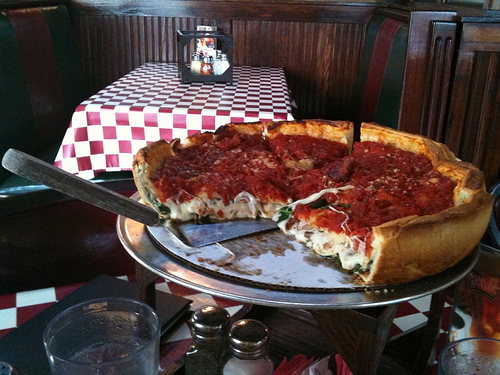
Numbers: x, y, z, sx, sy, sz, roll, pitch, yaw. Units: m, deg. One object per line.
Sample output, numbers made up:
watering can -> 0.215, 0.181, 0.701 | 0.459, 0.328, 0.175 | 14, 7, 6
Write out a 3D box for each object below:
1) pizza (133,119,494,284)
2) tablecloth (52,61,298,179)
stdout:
pizza -> 0.182, -0.003, 0.938 | 0.667, 0.098, 0.619 | -12, 24, -32
tablecloth -> -0.344, -0.365, 1.842 | 0.996, 0.174, 0.807 | 2, 30, 8
